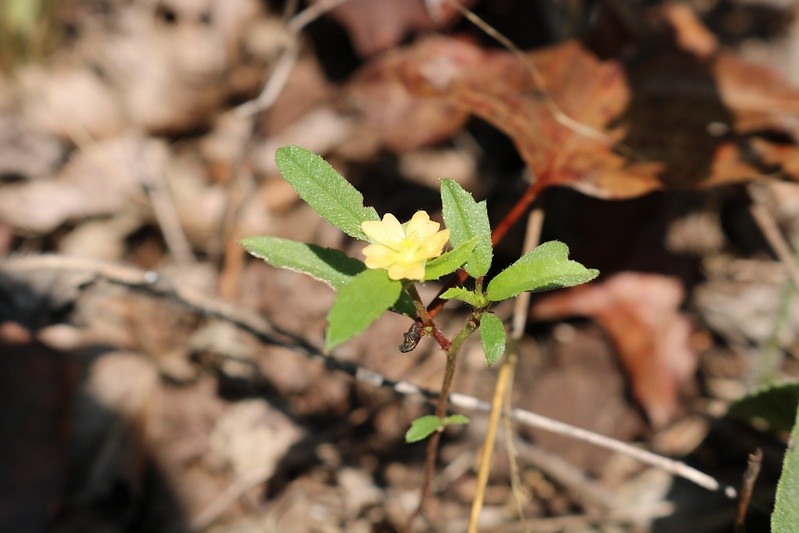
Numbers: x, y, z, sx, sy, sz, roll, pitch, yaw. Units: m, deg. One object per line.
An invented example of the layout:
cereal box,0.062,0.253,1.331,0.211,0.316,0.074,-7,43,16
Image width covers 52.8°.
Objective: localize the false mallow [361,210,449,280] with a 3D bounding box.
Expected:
false mallow,0.036,-0.109,4.000,0.320,0.361,0.117,-18,97,-24
